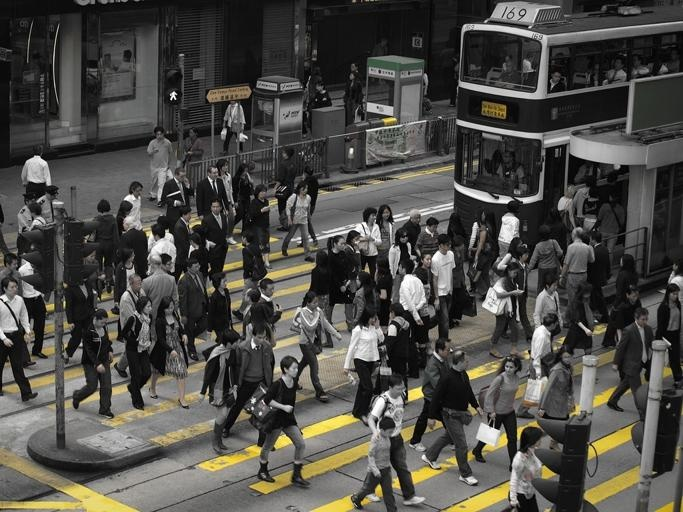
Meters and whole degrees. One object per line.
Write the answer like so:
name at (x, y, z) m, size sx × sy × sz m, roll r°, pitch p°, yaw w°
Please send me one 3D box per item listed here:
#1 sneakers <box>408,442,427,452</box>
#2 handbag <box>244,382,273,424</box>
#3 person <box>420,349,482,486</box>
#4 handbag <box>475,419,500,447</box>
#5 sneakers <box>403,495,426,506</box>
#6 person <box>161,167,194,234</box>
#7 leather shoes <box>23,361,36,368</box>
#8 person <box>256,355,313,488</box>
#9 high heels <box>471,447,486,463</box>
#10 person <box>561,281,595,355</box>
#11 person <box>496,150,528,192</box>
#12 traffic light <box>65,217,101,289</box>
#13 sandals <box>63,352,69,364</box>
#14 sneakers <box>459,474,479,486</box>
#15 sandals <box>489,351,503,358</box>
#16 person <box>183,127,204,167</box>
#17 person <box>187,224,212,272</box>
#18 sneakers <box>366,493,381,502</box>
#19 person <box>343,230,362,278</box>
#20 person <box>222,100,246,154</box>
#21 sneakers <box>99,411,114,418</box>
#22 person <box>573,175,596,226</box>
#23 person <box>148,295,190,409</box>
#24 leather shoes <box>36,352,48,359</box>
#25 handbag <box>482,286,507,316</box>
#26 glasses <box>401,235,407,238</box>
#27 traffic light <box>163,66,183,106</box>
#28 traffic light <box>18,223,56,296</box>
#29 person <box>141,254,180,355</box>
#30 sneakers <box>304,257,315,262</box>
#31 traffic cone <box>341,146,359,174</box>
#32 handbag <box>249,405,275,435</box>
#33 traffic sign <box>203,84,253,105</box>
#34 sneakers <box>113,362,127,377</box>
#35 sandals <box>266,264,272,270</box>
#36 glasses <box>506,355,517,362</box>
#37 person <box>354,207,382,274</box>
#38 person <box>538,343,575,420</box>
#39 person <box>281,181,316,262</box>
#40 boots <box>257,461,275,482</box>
sneakers at (1.220, 3.058, 14.907) m, size 0.244 × 0.097 × 0.113 m, roll 9°, pitch 19°, yaw 33°
handbag at (-1.223, 2.285, 13.701) m, size 0.196 × 0.543 × 0.428 m, roll 14°, pitch 22°, yaw -49°
person at (1.687, 2.425, 14.079) m, size 0.791 × 2.082 × 0.711 m, roll -4°, pitch 9°, yaw -2°
handbag at (2.164, 2.643, 13.624) m, size 0.336 × 0.390 × 0.280 m, roll 2°, pitch 10°, yaw 32°
sneakers at (1.041, 3.544, 13.468) m, size 0.262 × 0.108 × 0.139 m, roll -9°, pitch 7°, yaw 9°
person at (-3.710, -1.074, 21.422) m, size 0.636 × 1.955 × 0.731 m, roll 28°, pitch 38°, yaw 34°
leather shoes at (-5.649, 1.970, 16.781) m, size 0.209 × 0.151 × 0.072 m, roll -12°, pitch 11°, yaw 3°
person at (-0.917, 2.444, 13.785) m, size 0.754 × 2.003 × 0.651 m, roll -3°, pitch 9°, yaw 7°
high heels at (2.163, 3.153, 14.651) m, size 0.306 × 0.219 × 0.125 m, roll 11°, pitch 19°, yaw 42°
person at (4.530, 1.386, 17.666) m, size 0.511 × 1.400 × 2.460 m, roll -1°, pitch 9°, yaw 15°
person at (4.105, -2.001, 22.364) m, size 0.219 × 1.011 × 0.807 m, roll -10°, pitch 11°, yaw -35°
traffic light at (-3.998, -0.059, 14.223) m, size 0.571 × 1.049 × 0.599 m, roll -6°, pitch 9°, yaw -17°
sandals at (-5.000, 1.869, 16.871) m, size 0.098 × 0.120 × 0.287 m, roll 2°, pitch 15°, yaw -12°
sneakers at (1.930, 3.378, 14.072) m, size 0.269 × 0.109 × 0.117 m, roll 7°, pitch 22°, yaw 25°
sandals at (3.025, 1.924, 18.112) m, size 0.119 × 0.078 × 0.210 m, roll -20°, pitch 27°, yaw -39°
person at (-4.176, -3.045, 25.850) m, size 0.590 × 0.933 × 1.639 m, roll -5°, pitch 9°, yaw -9°
person at (-2.860, -0.193, 18.587) m, size 0.348 × 1.171 × 0.329 m, roll -7°, pitch 1°, yaw 13°
sneakers at (0.482, 3.532, 13.561) m, size 0.172 × 0.069 × 0.119 m, roll 4°, pitch 10°, yaw 43°
person at (0.224, -0.012, 18.542) m, size 0.288 × 0.985 × 0.338 m, roll -1°, pitch 50°, yaw 10°
person at (-3.268, -3.876, 28.169) m, size 0.746 × 1.567 × 1.358 m, roll -9°, pitch 10°, yaw -32°
sneakers at (-3.893, 2.640, 15.432) m, size 0.262 × 0.112 × 0.098 m, roll 3°, pitch 5°, yaw 20°
person at (5.953, -1.383, 22.833) m, size 0.448 × 0.456 × 1.222 m, roll 6°, pitch -25°, yaw 19°
person at (-2.961, 1.637, 15.810) m, size 0.605 × 1.994 × 0.751 m, roll -7°, pitch 9°, yaw -24°
leather shoes at (-5.552, 1.856, 17.245) m, size 0.222 × 0.089 × 0.082 m, roll 8°, pitch 25°, yaw -7°
handbag at (2.968, 0.880, 17.940) m, size 0.430 × 0.531 × 0.305 m, roll 40°, pitch 44°, yaw 14°
glasses at (1.292, -0.400, 19.184) m, size 0.054 × 0.054 × 0.016 m, roll 36°, pitch -12°, yaw -36°
traffic light at (-4.608, -4.638, 25.431) m, size 0.501 × 0.975 × 0.840 m, roll -4°, pitch 9°, yaw -5°
traffic light at (-4.517, 0.095, 13.805) m, size 0.284 × 1.023 × 0.622 m, roll 3°, pitch 11°, yaw 36°
person at (-3.291, 0.865, 16.832) m, size 0.654 × 1.852 × 0.462 m, roll -1°, pitch 31°, yaw -16°
sneakers at (-0.758, 0.091, 22.433) m, size 0.235 × 0.110 × 0.227 m, roll -9°, pitch -23°, yaw -9°
traffic cone at (0.259, -3.045, 29.249) m, size 0.546 × 0.923 × 0.375 m, roll -3°, pitch 9°, yaw 2°
handbag at (-1.200, 2.376, 13.670) m, size 0.200 × 0.400 × 0.480 m, roll -10°, pitch 11°, yaw -35°
traffic sign at (-3.520, -4.918, 28.272) m, size 1.713 × 0.460 × 0.060 m, roll -25°, pitch 33°, yaw -38°
sneakers at (-3.950, 2.043, 16.600) m, size 0.122 × 0.293 × 0.100 m, roll -23°, pitch 20°, yaw 26°
sandals at (-1.704, 0.272, 21.728) m, size 0.058 × 0.112 × 0.173 m, roll -9°, pitch 13°, yaw -34°
glasses at (2.517, 1.530, 13.735) m, size 0.121 × 0.069 × 0.170 m, roll 2°, pitch 1°, yaw -3°
person at (0.593, -0.124, 19.529) m, size 0.557 × 1.757 × 0.503 m, roll 3°, pitch 19°, yaw 9°
person at (3.305, 1.966, 14.251) m, size 0.549 × 1.156 × 0.390 m, roll -4°, pitch 9°, yaw 0°
person at (-1.086, -0.815, 22.286) m, size 0.798 × 1.934 × 1.083 m, roll -4°, pitch 9°, yaw -3°
boots at (-1.136, 3.239, 13.938) m, size 0.373 × 0.266 × 0.175 m, roll 8°, pitch 7°, yaw 38°
